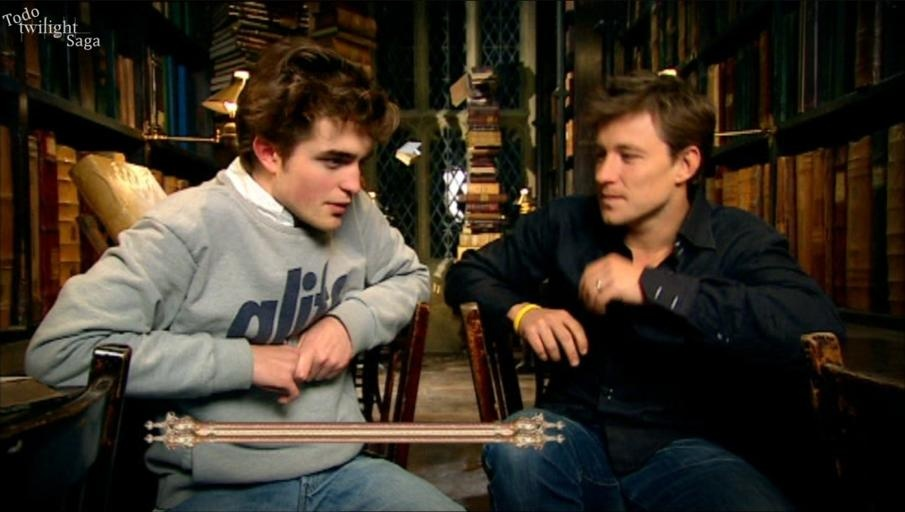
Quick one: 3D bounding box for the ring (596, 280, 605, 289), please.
[{"bbox_3d":[0.493,0.093,2.305,0.026,0.033,0.003,0,-2,28],"label":"ring"}]
